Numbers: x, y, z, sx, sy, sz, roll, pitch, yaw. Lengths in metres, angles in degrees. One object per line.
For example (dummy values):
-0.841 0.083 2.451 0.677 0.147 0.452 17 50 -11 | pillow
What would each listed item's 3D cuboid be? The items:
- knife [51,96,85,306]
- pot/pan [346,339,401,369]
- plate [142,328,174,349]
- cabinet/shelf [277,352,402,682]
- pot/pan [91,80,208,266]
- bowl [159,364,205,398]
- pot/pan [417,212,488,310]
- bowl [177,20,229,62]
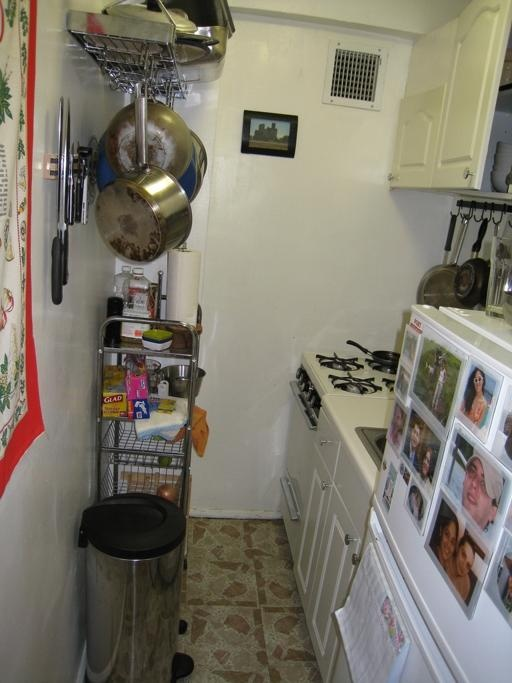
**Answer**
-0.396 -0.297 1.085 0.065 0.412 0.255 1 13 -14 | knife
0.531 0.063 2.305 0.216 0.092 0.141 23 20 3 | pot/pan
-0.312 -0.013 1.596 0.060 0.047 0.065 -7 21 -30 | plate
0.250 0.530 1.551 0.247 0.597 0.815 4 26 0 | cabinet/shelf
-0.247 -0.326 1.250 0.228 0.525 0.134 0 9 26 | pot/pan
-0.276 0.139 1.847 0.113 0.079 0.138 2 6 1 | bowl
0.849 -0.331 2.183 0.233 0.421 0.505 7 13 13 | pot/pan
-0.149 -0.797 1.376 0.131 0.071 0.343 3 14 -10 | bowl
